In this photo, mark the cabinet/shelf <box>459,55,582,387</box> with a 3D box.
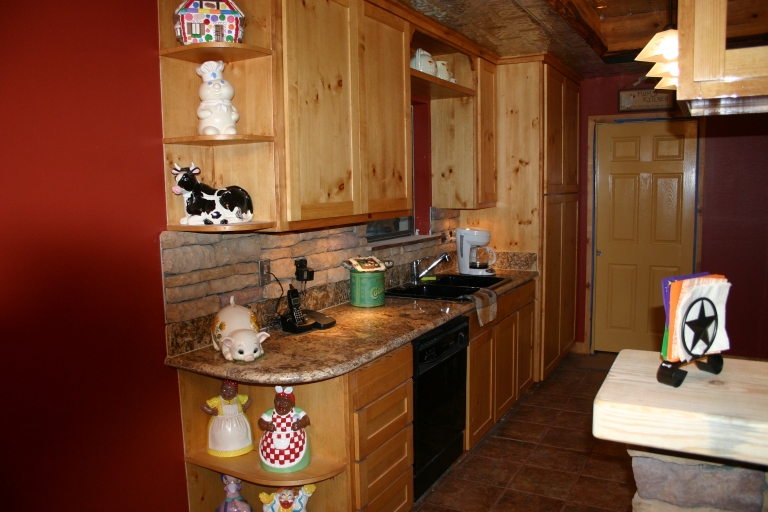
[{"bbox_3d":[1.475,-0.377,5.268,0.670,2.624,1.485,3,5,29],"label":"cabinet/shelf"}]

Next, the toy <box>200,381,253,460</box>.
[{"bbox_3d":[-0.795,0.815,2.885,0.228,0.404,0.135,-6,9,-18],"label":"toy"}]

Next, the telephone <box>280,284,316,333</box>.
[{"bbox_3d":[-0.495,0.298,3.209,0.193,0.243,0.166,2,8,21],"label":"telephone"}]

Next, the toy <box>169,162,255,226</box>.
[{"bbox_3d":[-0.840,-0.261,2.753,0.470,0.304,0.303,0,0,-29],"label":"toy"}]

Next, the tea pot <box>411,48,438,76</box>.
[{"bbox_3d":[0.284,-1.395,4.060,0.166,0.214,0.236,6,11,34],"label":"tea pot"}]

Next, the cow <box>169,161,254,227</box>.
[{"bbox_3d":[-0.832,-0.304,2.817,0.397,0.268,0.243,1,9,-2],"label":"cow"}]

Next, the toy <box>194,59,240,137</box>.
[{"bbox_3d":[-0.815,-0.769,2.779,0.230,0.358,0.228,-6,19,-24],"label":"toy"}]

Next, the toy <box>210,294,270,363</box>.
[{"bbox_3d":[-0.723,0.357,2.804,0.213,0.283,0.227,-3,14,-41],"label":"toy"}]
